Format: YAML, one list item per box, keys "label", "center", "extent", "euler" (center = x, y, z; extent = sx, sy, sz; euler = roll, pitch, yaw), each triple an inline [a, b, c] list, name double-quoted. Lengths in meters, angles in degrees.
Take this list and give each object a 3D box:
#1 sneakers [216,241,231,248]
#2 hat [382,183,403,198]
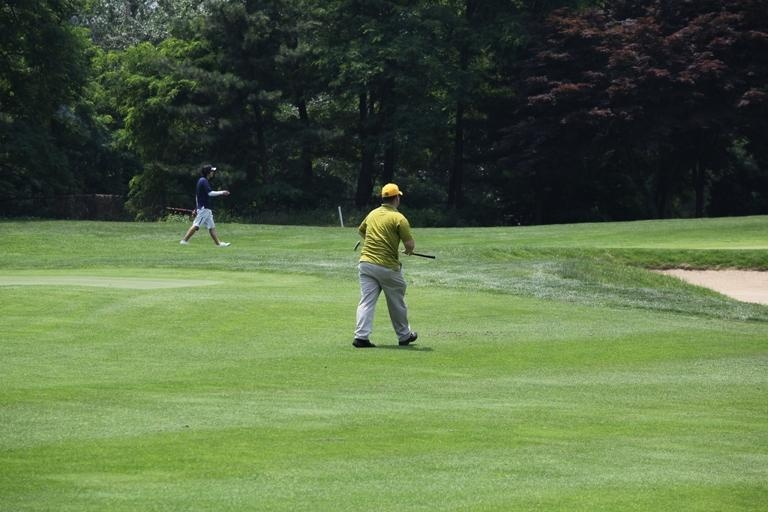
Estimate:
- label: "sneakers"
  center: [-6.721, -0.434, 61.851]
  extent: [0.550, 0.199, 0.175]
  euler: [-1, 47, 9]
- label: "hat"
  center: [0.314, -2.112, 49.591]
  extent: [0.518, 0.384, 0.716]
  euler: [7, 21, 28]
